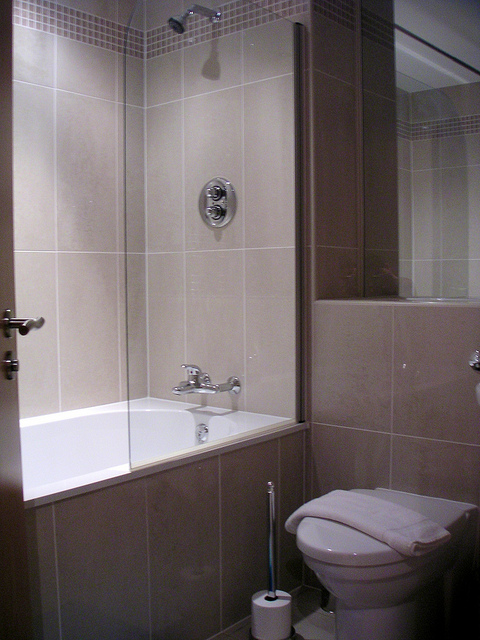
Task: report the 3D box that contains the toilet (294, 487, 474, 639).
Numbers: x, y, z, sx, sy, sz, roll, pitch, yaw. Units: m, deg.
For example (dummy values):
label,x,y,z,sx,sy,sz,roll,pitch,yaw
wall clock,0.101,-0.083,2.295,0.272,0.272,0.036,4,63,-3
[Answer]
label,x,y,z,sx,sy,sz,roll,pitch,yaw
toilet,0.394,0.646,1.554,0.326,0.393,0.513,0,-1,39

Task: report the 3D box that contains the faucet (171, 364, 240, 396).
label,x,y,z,sx,sy,sz,roll,pitch,yaw
faucet,-0.120,0.171,1.786,0.128,0.072,0.126,-1,-3,42
